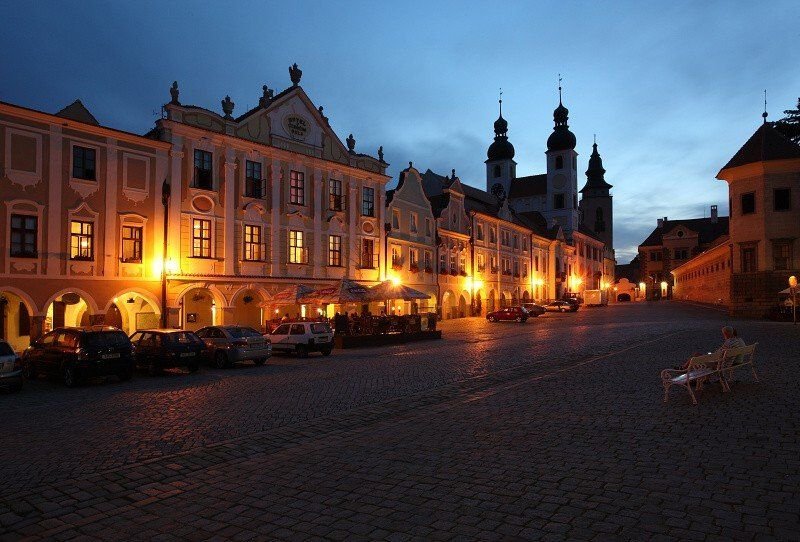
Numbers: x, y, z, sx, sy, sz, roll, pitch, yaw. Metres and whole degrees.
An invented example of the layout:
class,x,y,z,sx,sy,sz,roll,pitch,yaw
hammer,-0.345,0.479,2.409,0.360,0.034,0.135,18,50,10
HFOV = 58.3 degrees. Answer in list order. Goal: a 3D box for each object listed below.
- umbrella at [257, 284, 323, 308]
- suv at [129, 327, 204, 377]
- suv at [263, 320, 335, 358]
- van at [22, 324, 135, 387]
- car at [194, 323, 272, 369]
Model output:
class,x,y,z,sx,sy,sz,roll,pitch,yaw
umbrella,-5.466,1.271,37.481,1.915,0.889,1.959,-6,-6,21
suv,-8.772,2.908,26.501,2.395,1.107,1.523,4,2,40
suv,-4.308,2.917,31.691,2.302,1.139,1.560,3,1,33
van,-11.115,2.760,24.680,3.466,1.460,1.843,2,-1,40
car,-6.536,2.969,28.326,2.671,1.538,1.276,2,6,25
